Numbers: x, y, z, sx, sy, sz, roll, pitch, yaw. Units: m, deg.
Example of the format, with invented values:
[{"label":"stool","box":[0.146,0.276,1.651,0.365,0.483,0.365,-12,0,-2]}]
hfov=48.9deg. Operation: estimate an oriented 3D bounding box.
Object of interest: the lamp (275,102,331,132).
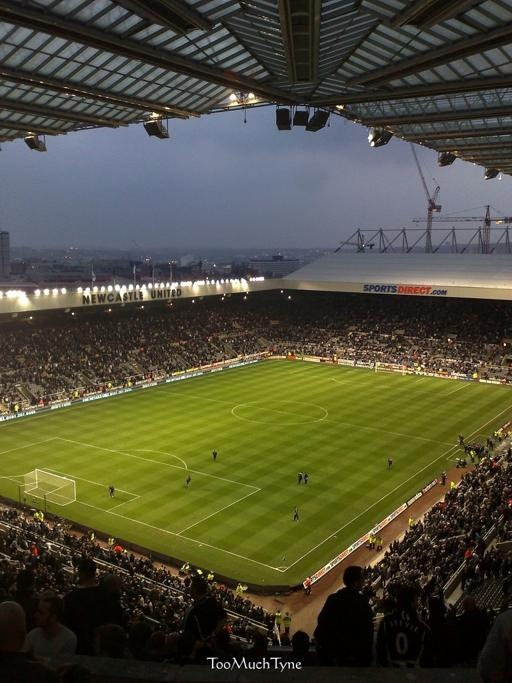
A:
[{"label":"lamp","box":[2.415,-11.878,29.671,2.568,1.751,2.176,-1,2,0]}]

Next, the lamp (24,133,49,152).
[{"label":"lamp","box":[-13.241,-11.967,33.921,1.067,1.210,1.515,-2,2,-23]}]
